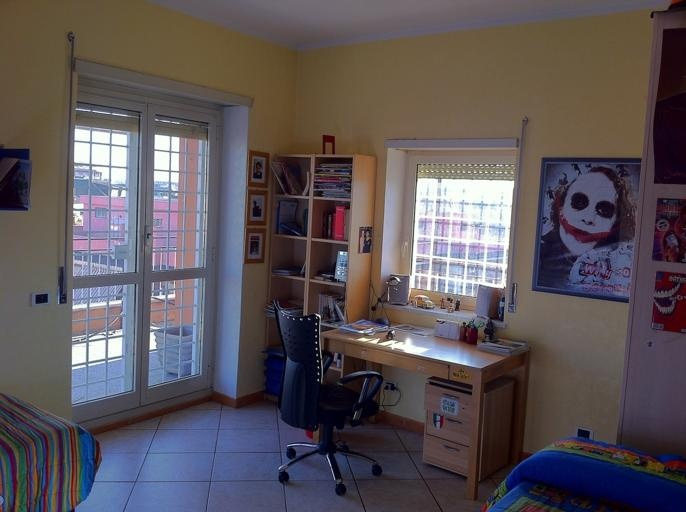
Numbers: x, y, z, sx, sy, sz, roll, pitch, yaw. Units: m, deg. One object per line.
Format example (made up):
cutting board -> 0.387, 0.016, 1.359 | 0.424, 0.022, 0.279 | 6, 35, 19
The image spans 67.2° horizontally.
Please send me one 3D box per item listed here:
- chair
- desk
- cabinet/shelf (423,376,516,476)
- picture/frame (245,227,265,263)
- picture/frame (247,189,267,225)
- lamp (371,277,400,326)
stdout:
chair -> -0.137, 1.049, 3.966 | 0.804, 1.303, 0.692 | 1, 9, -8
desk -> 0.622, 1.211, 4.439 | 1.467, 0.998, 0.777 | 4, 5, 37
cabinet/shelf -> 1.013, 1.351, 4.163 | 0.530, 0.718, 0.577 | 1, 1, 38
picture/frame -> -0.870, -0.099, 5.036 | 0.015, 0.352, 0.297 | 3, 3, 36
picture/frame -> -0.848, -0.481, 5.001 | 0.030, 0.423, 0.342 | 5, 4, 35
lamp -> 0.384, 0.433, 4.896 | 0.217, 0.471, 0.223 | 5, 17, -36
